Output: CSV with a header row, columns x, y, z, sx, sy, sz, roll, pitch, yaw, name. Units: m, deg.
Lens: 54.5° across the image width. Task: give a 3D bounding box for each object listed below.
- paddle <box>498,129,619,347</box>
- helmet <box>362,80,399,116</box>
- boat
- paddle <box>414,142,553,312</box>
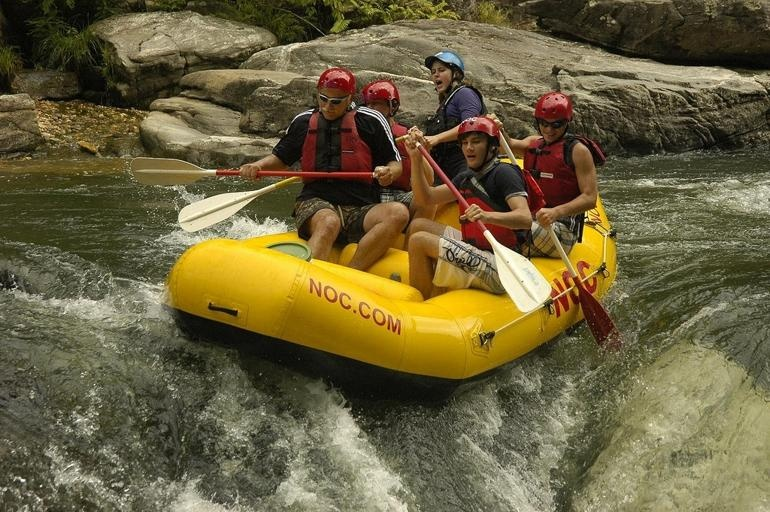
x,y,z,sx,sy,sz,roll,pitch,yaw,name
1.581,-0.105,6.993,0.261,2.428,0.179,-25,0,-2,paddle
-0.043,-1.655,7.755,0.375,0.330,0.306,3,2,-31,helmet
0.221,0.405,6.639,2.038,0.964,3.106,25,28,35,boat
0.682,-0.516,6.664,0.458,2.313,0.163,-34,-14,-6,paddle
